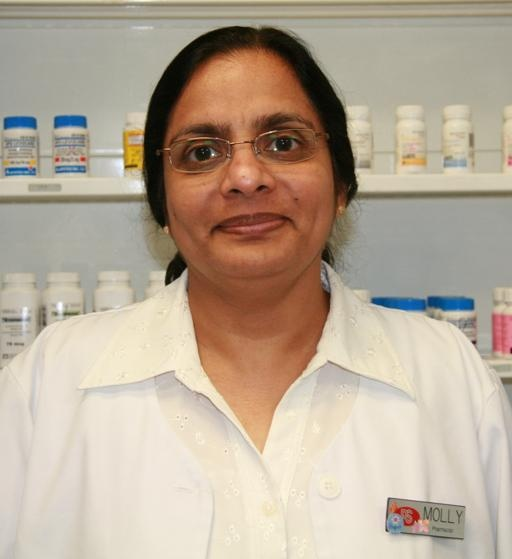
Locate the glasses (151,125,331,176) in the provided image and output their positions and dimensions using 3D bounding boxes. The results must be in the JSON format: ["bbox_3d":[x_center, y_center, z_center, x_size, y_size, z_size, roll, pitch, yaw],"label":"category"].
[{"bbox_3d":[-0.020,-0.185,1.070,0.214,0.066,0.062,-1,2,1],"label":"glasses"}]
